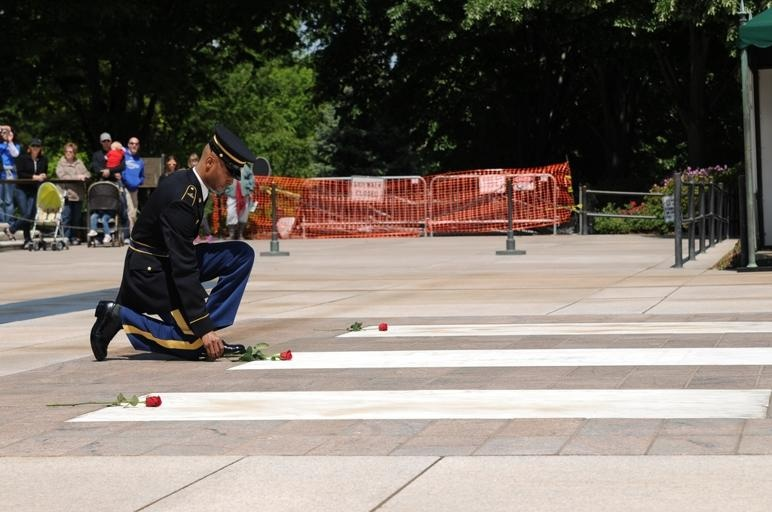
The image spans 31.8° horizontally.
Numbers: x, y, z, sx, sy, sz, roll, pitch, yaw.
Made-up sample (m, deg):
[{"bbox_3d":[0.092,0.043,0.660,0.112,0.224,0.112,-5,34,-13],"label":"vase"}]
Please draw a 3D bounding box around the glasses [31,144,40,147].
[{"bbox_3d":[-7.288,-2.330,28.262,0.164,0.084,0.237,-4,11,-10],"label":"glasses"}]

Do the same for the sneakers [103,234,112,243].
[{"bbox_3d":[-5.995,-0.375,29.188,0.201,0.157,0.195,0,14,1],"label":"sneakers"}]

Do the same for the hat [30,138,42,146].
[{"bbox_3d":[-7.290,-2.390,28.299,0.216,0.119,0.262,5,6,-23],"label":"hat"}]

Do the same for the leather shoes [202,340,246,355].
[{"bbox_3d":[-1.739,1.000,14.506,0.555,0.166,0.142,-2,36,-7],"label":"leather shoes"}]

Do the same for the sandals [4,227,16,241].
[{"bbox_3d":[-7.869,-0.475,28.324,0.169,0.084,0.285,-28,44,-33],"label":"sandals"}]
